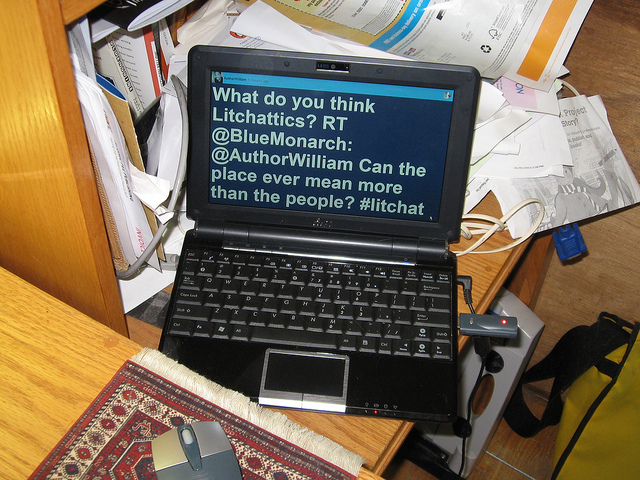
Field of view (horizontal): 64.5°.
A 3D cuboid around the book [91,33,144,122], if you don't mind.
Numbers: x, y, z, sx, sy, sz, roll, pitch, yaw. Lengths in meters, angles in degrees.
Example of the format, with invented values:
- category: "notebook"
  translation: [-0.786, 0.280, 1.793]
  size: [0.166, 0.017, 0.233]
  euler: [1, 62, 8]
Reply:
- category: "book"
  translation: [-0.384, -0.303, 1.005]
  size: [0.026, 0.202, 0.230]
  euler: [-6, 11, -15]

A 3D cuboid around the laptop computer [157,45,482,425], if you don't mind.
- category: "laptop computer"
  translation: [-0.003, -0.013, 0.743]
  size: [0.476, 0.310, 0.447]
  euler: [3, 52, 1]

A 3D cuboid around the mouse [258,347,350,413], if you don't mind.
- category: "mouse"
  translation: [-0.023, 0.213, 0.772]
  size: [0.118, 0.027, 0.079]
  euler: [5, 64, 5]
